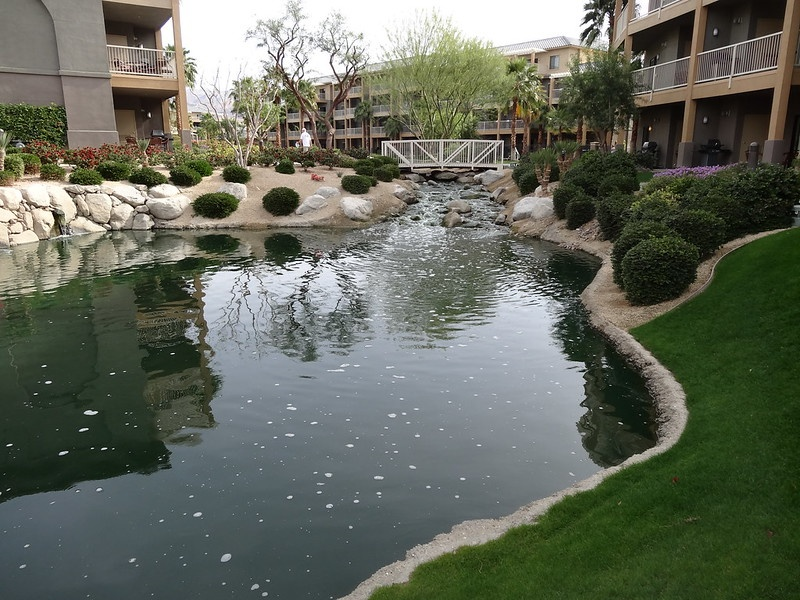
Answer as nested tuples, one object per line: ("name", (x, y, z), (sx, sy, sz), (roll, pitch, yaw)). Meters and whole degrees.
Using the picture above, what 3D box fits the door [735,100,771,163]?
("door", (15.868, -7.367, 24.614), (1.879, 2.027, 0.711), (-12, 18, -35))
